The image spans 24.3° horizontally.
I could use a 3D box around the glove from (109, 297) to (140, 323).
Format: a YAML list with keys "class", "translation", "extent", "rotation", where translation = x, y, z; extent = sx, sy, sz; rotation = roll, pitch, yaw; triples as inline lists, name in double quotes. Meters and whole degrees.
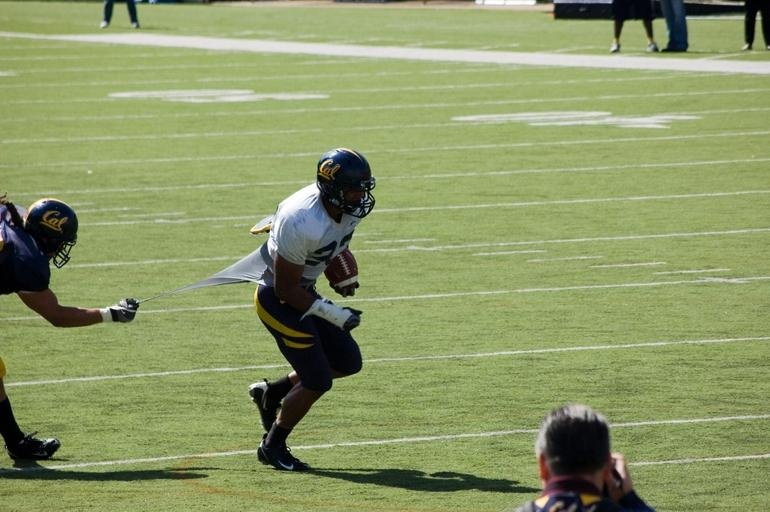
- class: "glove"
  translation: [-3.020, 0.623, 20.238]
  extent: [0.405, 0.137, 0.252]
  rotation: [7, 31, 18]
